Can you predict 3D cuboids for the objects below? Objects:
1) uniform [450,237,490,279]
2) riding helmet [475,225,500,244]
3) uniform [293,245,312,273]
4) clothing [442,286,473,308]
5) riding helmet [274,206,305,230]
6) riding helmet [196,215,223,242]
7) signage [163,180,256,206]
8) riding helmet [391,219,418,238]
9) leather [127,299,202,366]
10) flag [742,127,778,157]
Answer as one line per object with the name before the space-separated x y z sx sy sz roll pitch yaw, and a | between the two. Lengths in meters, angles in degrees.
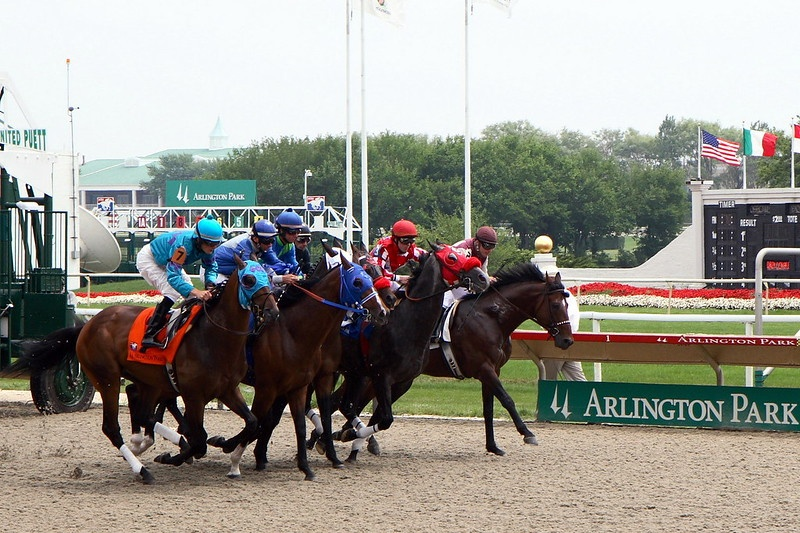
uniform | 0.779 -0.094 14.628 0.213 0.318 0.367 12 -33 -32
riding helmet | 1.008 -0.381 15.005 0.224 0.205 0.171 4 28 8
uniform | -1.114 -0.068 14.869 0.103 0.296 0.214 -19 -17 -1
clothing | 0.603 0.351 15.262 0.470 0.291 0.138 -10 -8 36
riding helmet | -1.269 -0.553 14.379 0.205 0.162 0.260 -4 26 -36
riding helmet | -2.021 -0.377 13.564 0.276 0.185 0.215 24 27 32
signage | -8.112 -3.094 54.628 4.204 1.132 1.068 -1 3 26
riding helmet | 0.048 -0.424 14.645 0.190 0.184 0.215 -1 14 -34
leather | -2.650 0.628 13.983 0.781 0.529 1.429 -22 10 -17
flag | 8.915 -3.078 32.223 0.708 0.700 2.626 -1 3 14
